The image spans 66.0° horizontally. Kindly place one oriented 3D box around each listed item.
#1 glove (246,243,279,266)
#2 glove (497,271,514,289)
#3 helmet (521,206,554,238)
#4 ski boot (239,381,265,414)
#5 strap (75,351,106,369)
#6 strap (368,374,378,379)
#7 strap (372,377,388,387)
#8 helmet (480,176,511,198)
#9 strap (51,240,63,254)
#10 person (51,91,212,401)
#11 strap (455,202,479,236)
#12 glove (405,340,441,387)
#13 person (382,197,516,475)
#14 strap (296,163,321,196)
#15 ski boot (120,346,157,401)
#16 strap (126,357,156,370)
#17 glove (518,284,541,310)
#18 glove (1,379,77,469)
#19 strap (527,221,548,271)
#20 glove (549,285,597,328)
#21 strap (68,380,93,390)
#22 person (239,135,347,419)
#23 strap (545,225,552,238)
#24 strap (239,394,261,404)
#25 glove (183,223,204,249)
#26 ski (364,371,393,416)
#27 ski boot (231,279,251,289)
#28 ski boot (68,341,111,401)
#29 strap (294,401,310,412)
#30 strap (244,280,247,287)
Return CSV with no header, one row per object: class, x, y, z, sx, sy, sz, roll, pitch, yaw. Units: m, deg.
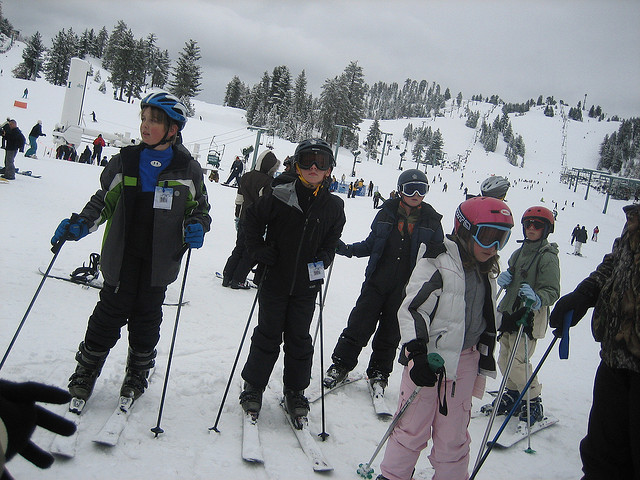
glove,-0.509,0.107,4.283,0.224,0.106,0.171,31,9,23
glove,1.898,0.407,5.033,0.124,0.129,0.238,13,8,22
helmet,2.353,-0.196,5.208,0.308,0.276,0.242,10,-7,-36
ski boot,-0.623,1.418,4.454,0.163,0.238,0.534,5,-6,-7
strap,-1.920,1.006,4.086,0.133,0.059,0.156,39,18,27
strap,0.552,1.431,5.155,0.047,0.021,0.065,2,-3,-37
strap,0.628,1.470,5.131,0.112,0.066,0.073,-15,47,-25
helmet,2.263,-0.692,6.353,0.327,0.197,0.496,14,9,17
strap,-2.138,0.059,3.998,0.056,0.141,0.042,-15,-50,40
person,-1.526,0.034,4.117,1.030,2.518,0.480,5,8,-30
strap,1.147,-0.145,3.831,0.212,0.109,0.161,54,13,25
glove,0.722,0.853,3.492,0.218,0.334,0.139,30,-42,-33
person,0.983,0.726,3.716,0.834,1.429,0.587,7,8,-18
strap,-0.103,-0.501,4.307,0.172,0.060,0.245,24,-36,23
ski boot,-1.575,1.144,4.235,0.175,0.602,0.387,5,-28,-13
strap,-1.563,1.062,4.241,0.130,0.054,0.170,2,-5,-6
glove,1.890,0.529,4.534,0.166,0.117,0.233,30,19,-41
glove,-1.165,0.765,2.024,0.299,0.396,0.105,10,7,5
strap,2.216,0.176,4.978,0.094,0.820,0.107,23,-23,-16
glove,1.824,0.458,3.539,0.409,0.186,0.219,-6,-10,-39
strap,-1.957,1.177,3.993,0.168,0.085,0.061,3,-5,9
person,-0.279,0.337,4.366,0.915,2.484,0.567,7,7,-11
strap,2.387,-0.077,5.121,0.084,0.072,0.089,6,13,29
strap,-0.626,1.370,4.328,0.190,0.094,0.066,-9,5,-12
glove,-1.039,-0.030,4.039,0.138,0.215,0.082,3,0,-27
ski,0.587,1.569,4.993,0.201,0.311,0.723,0,-7,-4
ski boot,-1.203,0.693,7.527,0.332,0.155,0.111,-4,18,-5
ski boot,-1.952,1.102,4.115,0.173,0.420,0.566,8,7,-8
strap,-0.156,1.468,4.379,0.072,0.040,0.118,9,2,-42
strap,-1.166,0.665,7.633,0.032,0.078,0.073,1,0,-2
